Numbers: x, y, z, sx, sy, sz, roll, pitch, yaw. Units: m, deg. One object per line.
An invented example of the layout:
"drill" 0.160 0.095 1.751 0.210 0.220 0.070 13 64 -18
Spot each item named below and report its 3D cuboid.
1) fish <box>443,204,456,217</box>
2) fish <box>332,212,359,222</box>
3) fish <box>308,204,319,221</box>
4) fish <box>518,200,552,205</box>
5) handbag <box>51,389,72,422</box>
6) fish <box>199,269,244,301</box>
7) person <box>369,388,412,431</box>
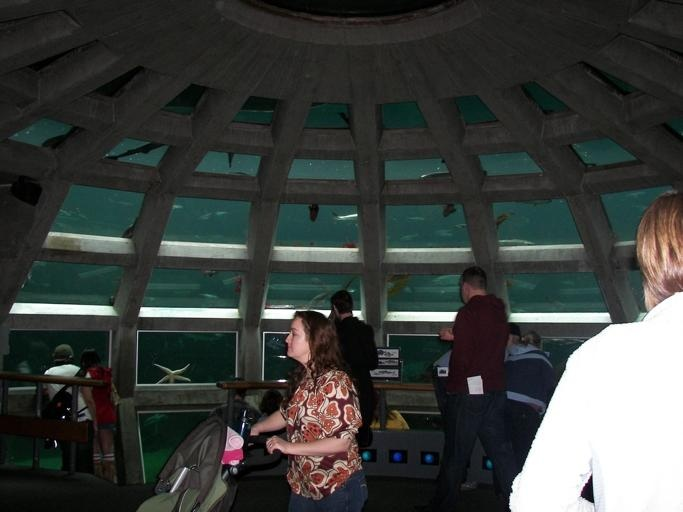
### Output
"fish" 2.294 -0.994 10.477 0.161 0.094 0.272 34 -23 -17
"fish" 0.073 -0.878 10.981 0.508 0.090 0.195 0 -25 1
"fish" -0.619 -0.961 10.813 0.133 0.173 0.406 2 -57 0
"fish" 3.956 -1.086 10.003 0.705 0.130 0.165 -1 -1 18
"handbag" -4.015 2.107 7.050 0.269 0.450 0.547 13 -28 -22
"fish" -2.786 0.633 11.637 0.752 0.204 0.752 2 -59 -6
"person" 0.702 2.206 7.125 0.599 0.301 0.773 -1 -16 4
